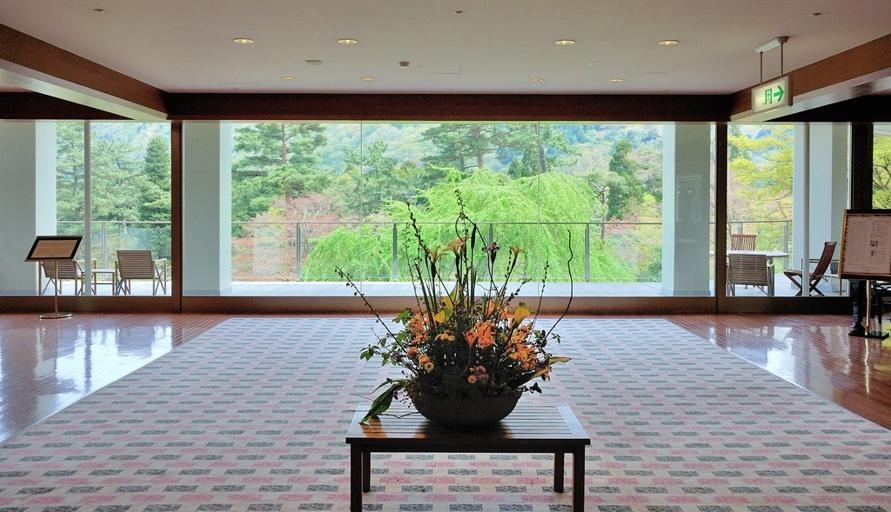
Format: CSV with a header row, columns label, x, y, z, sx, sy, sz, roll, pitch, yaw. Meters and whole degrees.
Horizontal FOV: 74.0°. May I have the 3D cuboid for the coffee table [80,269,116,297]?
label,x,y,z,sx,sy,sz,roll,pitch,yaw
coffee table,-6.360,0.466,11.017,0.789,0.546,0.502,0,-1,-10

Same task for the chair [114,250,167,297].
label,x,y,z,sx,sy,sz,roll,pitch,yaw
chair,-5.523,0.332,11.196,1.074,0.972,0.887,0,-1,-7
